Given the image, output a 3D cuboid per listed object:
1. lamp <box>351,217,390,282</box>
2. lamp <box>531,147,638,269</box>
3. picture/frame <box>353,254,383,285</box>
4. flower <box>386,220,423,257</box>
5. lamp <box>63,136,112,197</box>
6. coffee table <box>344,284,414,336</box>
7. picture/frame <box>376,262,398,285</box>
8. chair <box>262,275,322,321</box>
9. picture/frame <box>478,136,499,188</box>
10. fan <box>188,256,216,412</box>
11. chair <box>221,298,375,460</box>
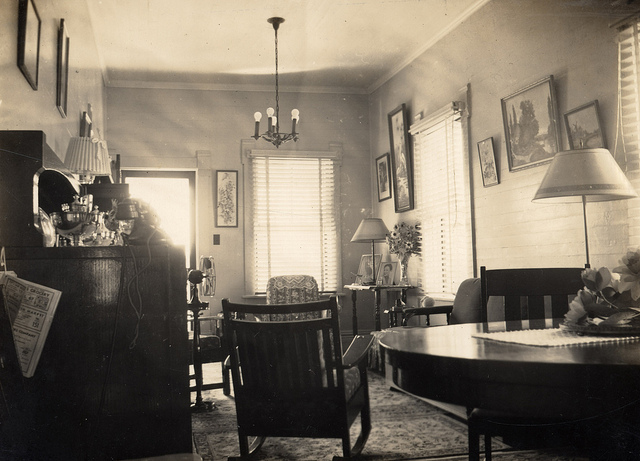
[{"bbox_3d":[0.557,0.209,6.382,0.383,0.694,0.646,-1,-4,6],"label":"lamp"},{"bbox_3d":[1.534,-0.139,3.428,0.555,0.649,0.484,-2,-4,19],"label":"lamp"},{"bbox_3d":[0.540,0.432,6.474,0.027,0.333,0.338,15,-14,-26],"label":"picture/frame"},{"bbox_3d":[0.857,0.114,6.022,0.318,0.412,0.356,10,-11,-42],"label":"flower"},{"bbox_3d":[-1.444,-0.444,3.650,0.230,0.303,0.396,-1,-4,-6],"label":"lamp"},{"bbox_3d":[0.641,0.773,5.890,0.610,0.569,0.611,4,-8,-22],"label":"coffee table"},{"bbox_3d":[0.715,0.454,6.215,0.018,0.244,0.193,22,-27,-39],"label":"picture/frame"},{"bbox_3d":[-0.205,0.481,4.390,0.363,0.326,0.364,0,-7,-5],"label":"chair"},{"bbox_3d":[1.369,-0.557,4.787,0.057,0.395,0.233,0,-4,-12],"label":"picture/frame"},{"bbox_3d":[-0.867,0.768,4.298,0.176,0.971,0.540,0,-4,-12],"label":"fan"},{"bbox_3d":[-0.094,0.740,2.978,0.646,0.826,0.654,-2,-4,14],"label":"chair"}]
